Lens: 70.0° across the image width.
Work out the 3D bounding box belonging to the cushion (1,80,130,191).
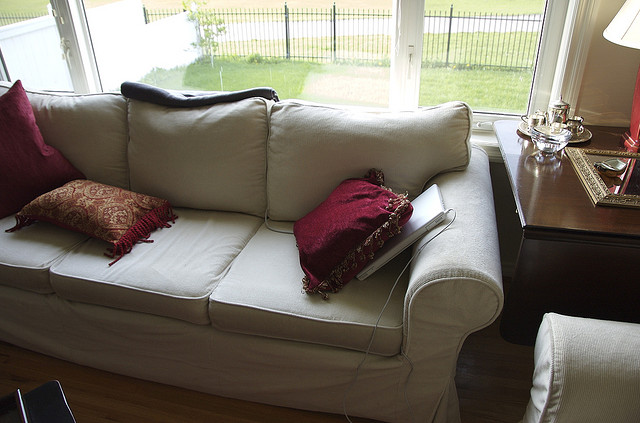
[{"bbox_3d":[-1.414,-0.392,2.543,0.605,0.446,0.209,7,32,12],"label":"cushion"}]

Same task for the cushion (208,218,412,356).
[{"bbox_3d":[-0.034,0.379,2.181,0.878,0.270,0.471,6,28,10],"label":"cushion"}]

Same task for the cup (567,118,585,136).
[{"bbox_3d":[1.310,-0.433,2.356,0.057,0.082,0.084,-45,46,-10],"label":"cup"}]

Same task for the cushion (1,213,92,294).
[{"bbox_3d":[-1.495,0.245,2.361,0.378,0.097,0.406,15,39,14],"label":"cushion"}]

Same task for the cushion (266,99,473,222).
[{"bbox_3d":[0.215,-0.196,2.505,1.224,0.789,0.431,10,25,35],"label":"cushion"}]

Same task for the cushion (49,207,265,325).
[{"bbox_3d":[-0.828,0.282,2.211,0.604,0.140,0.627,8,34,15],"label":"cushion"}]

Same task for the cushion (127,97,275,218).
[{"bbox_3d":[-0.734,-0.328,2.625,0.925,0.672,0.330,7,18,12],"label":"cushion"}]

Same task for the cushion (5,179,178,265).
[{"bbox_3d":[-1.210,-0.024,2.382,0.637,0.180,0.471,21,47,12],"label":"cushion"}]
